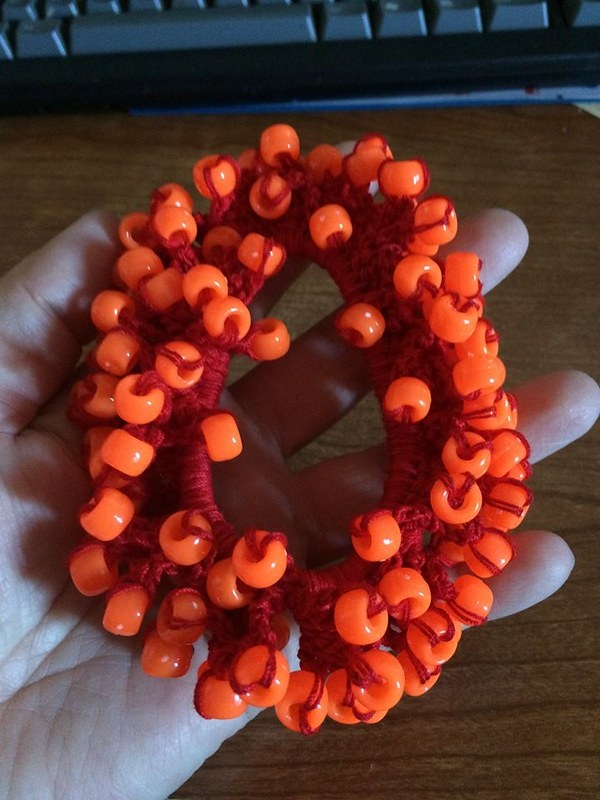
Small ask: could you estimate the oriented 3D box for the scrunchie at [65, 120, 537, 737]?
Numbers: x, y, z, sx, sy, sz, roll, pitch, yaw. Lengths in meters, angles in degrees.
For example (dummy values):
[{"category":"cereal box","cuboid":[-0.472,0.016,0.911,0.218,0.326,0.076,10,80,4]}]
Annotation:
[{"category":"scrunchie","cuboid":[0.011,-0.003,0.738,0.520,0.169,0.481,6,86,5]}]
